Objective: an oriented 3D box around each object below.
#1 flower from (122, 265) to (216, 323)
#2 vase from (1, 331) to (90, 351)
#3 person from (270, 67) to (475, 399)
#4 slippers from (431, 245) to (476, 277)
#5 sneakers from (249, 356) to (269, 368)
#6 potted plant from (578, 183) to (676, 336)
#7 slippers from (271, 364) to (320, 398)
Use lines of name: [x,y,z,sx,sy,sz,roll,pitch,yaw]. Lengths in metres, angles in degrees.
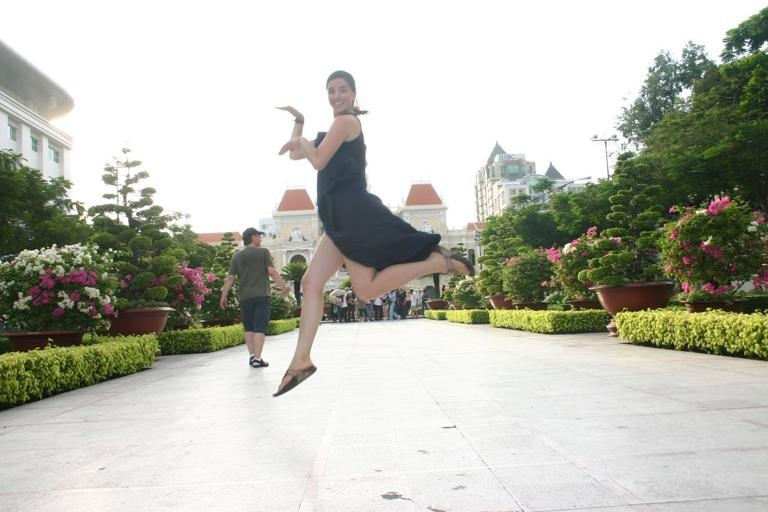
flower: [-4.162,0.541,9.907,1.795,1.103,1.267,6,-29,-29]
vase: [-4.555,1.129,6.739,0.863,0.245,0.353,2,-9,-25]
person: [-0.154,-0.237,3.551,1.158,2.285,0.806,-1,-10,-11]
slippers: [0.521,0.048,3.655,0.428,0.136,0.143,18,22,7]
sneakers: [-1.671,1.433,6.785,0.134,0.078,0.212,3,3,33]
potted plant: [5.190,0.113,10.551,1.953,2.609,1.770,-4,0,16]
slippers: [-0.619,0.890,3.639,0.414,0.114,0.149,-34,8,-29]
